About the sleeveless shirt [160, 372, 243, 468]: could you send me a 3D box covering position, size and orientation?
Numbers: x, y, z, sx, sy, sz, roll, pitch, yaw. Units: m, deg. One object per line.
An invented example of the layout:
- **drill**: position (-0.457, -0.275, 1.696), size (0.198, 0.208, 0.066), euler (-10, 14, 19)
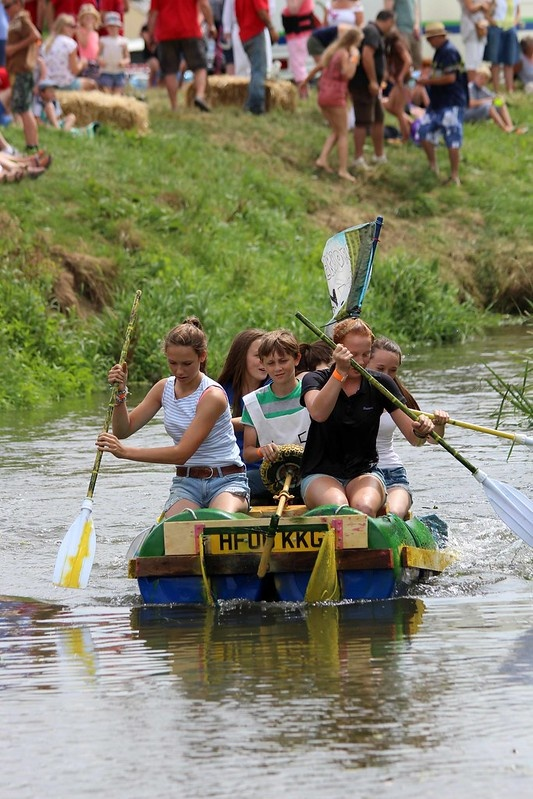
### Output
- **sleeveless shirt**: position (-0.270, 0.088, 5.936), size (0.311, 0.426, 0.228), euler (-11, 11, 34)

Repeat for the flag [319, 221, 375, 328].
- **flag**: position (0.351, -0.575, 6.205), size (0.085, 0.453, 0.450), euler (21, 23, 34)

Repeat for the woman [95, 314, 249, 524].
- **woman**: position (-0.390, 0.078, 5.829), size (0.602, 0.826, 0.741), euler (-1, 6, 5)

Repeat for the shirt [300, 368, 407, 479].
- **shirt**: position (0.342, 0.113, 5.855), size (0.413, 0.519, 0.274), euler (7, 1, -21)

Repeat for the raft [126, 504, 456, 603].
- **raft**: position (0.082, 0.663, 6.065), size (1.257, 0.453, 1.609), euler (-3, -2, -3)

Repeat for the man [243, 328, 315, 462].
- **man**: position (0.068, 0.010, 6.131), size (0.356, 0.639, 0.319), euler (-4, 8, -4)
